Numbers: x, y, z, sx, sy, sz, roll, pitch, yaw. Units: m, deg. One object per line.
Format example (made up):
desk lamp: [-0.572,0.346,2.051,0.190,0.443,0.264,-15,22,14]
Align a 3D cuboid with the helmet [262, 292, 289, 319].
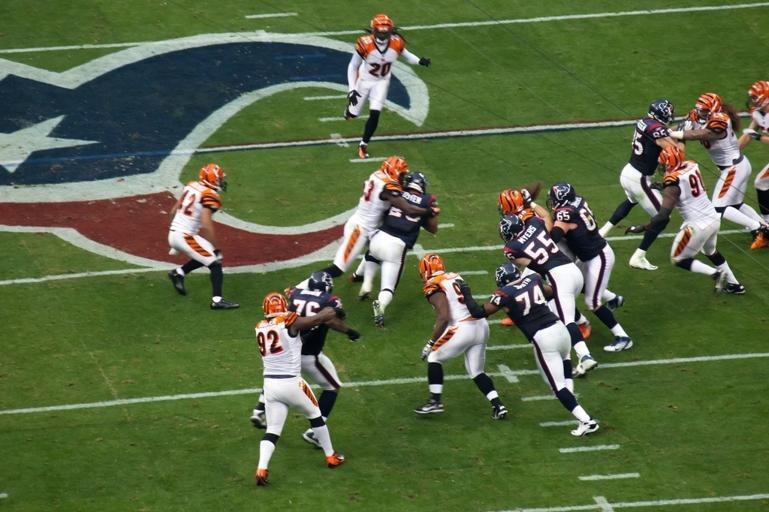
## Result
helmet: [-1.426,0.611,16.722,0.368,0.309,0.326,0,43,-11]

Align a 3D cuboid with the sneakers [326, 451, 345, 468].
sneakers: [-0.644,2.578,16.809,0.305,0.130,0.130,-17,29,-40]

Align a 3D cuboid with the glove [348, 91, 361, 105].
glove: [-0.552,-2.663,22.287,0.298,0.191,0.084,-2,-1,-11]

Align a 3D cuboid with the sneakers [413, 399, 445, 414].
sneakers: [0.603,1.993,17.543,0.518,0.161,0.151,-1,-2,5]

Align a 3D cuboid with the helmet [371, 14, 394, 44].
helmet: [-0.050,-3.776,22.075,0.353,0.439,0.432,1,22,-2]

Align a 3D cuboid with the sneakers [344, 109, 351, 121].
sneakers: [-0.650,-2.405,22.567,0.140,0.144,0.061,9,55,14]

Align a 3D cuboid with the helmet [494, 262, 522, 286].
helmet: [1.597,0.230,17.449,0.320,0.263,0.372,-24,25,-30]

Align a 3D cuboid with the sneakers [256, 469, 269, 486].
sneakers: [-1.549,2.747,16.541,0.203,0.169,0.221,2,1,-12]

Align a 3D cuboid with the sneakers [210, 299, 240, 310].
sneakers: [-2.367,0.702,19.240,0.477,0.130,0.138,-1,19,-5]

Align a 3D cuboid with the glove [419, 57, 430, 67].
glove: [0.638,-3.277,22.271,0.248,0.140,0.103,18,38,30]

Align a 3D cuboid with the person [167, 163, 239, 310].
person: [-2.719,-0.313,19.332,1.004,1.952,1.339,-2,24,-8]

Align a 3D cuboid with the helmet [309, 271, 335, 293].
helmet: [-0.861,0.351,17.140,0.282,0.283,0.393,3,20,2]
